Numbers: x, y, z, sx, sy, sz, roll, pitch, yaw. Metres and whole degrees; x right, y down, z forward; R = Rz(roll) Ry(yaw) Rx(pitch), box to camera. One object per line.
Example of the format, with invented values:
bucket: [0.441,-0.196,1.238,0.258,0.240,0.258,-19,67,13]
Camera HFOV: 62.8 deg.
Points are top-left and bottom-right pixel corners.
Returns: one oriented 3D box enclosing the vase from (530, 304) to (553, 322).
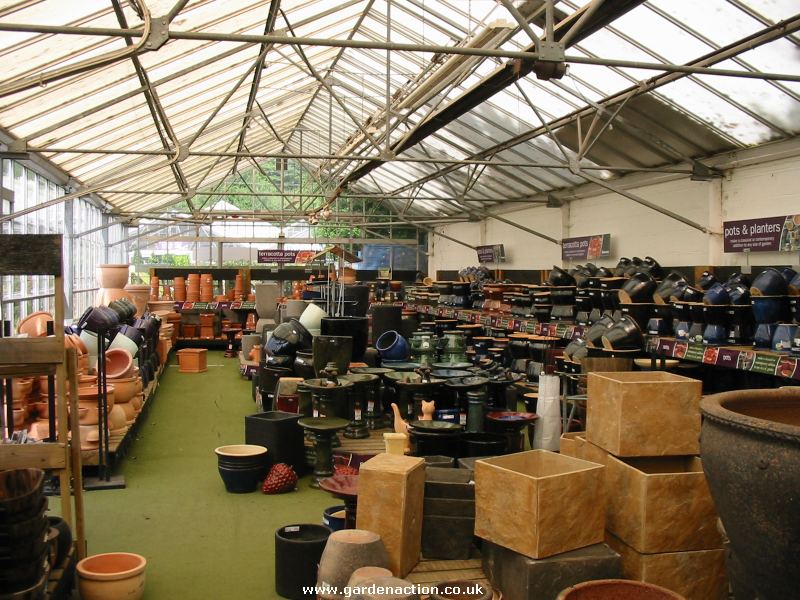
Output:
vase: [1.856,0.176,8.738,0.313,0.213,0.272,1,1,32]

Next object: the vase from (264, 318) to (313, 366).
vase: [-1.173,0.458,7.126,0.681,0.485,0.427,2,1,44]

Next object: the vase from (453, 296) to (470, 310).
vase: [1.142,0.062,12.024,0.310,0.163,0.255,1,-10,-3]

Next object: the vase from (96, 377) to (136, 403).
vase: [-2.618,0.837,6.054,0.300,0.158,0.253,0,-4,5]

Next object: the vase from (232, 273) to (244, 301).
vase: [-3.684,-0.288,14.942,0.205,0.606,0.411,1,1,-15]

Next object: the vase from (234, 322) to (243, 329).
vase: [-3.530,0.558,14.282,0.184,0.127,0.214,1,1,-18]

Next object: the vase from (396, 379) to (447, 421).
vase: [0.214,0.891,5.859,0.453,0.392,0.506,1,1,3]

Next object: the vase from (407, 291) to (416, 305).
vase: [0.263,-0.032,14.677,0.246,0.243,0.300,7,-6,-16]

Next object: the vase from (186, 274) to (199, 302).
vase: [-4.605,-0.257,14.602,0.285,0.609,0.511,1,1,-17]

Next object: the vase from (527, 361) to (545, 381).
vase: [1.616,0.844,7.789,0.162,0.235,0.386,1,1,-15]

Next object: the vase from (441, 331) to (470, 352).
vase: [0.605,0.454,7.172,0.258,0.120,0.259,4,3,43]

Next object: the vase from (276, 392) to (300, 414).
vase: [-1.070,0.991,6.274,0.221,0.113,0.187,2,0,5]

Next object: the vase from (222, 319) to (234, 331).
vase: [-3.754,0.554,14.177,0.332,0.190,0.210,0,-4,-27]

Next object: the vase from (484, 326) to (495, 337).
vase: [1.401,0.500,10.289,0.187,0.148,0.165,-2,-4,-14]

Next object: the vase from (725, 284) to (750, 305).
vase: [2.758,-0.044,5.317,0.175,0.136,0.192,2,-6,-26]

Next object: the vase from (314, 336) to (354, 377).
vase: [-0.541,0.540,6.340,0.479,0.382,0.406,1,-8,-2]

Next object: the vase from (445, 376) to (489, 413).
vase: [0.586,0.815,5.817,0.411,0.210,0.369,-2,1,-2]

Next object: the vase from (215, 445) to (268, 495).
vase: [-1.263,1.322,5.151,0.457,0.228,0.388,0,-5,8]

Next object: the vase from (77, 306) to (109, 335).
vase: [-2.711,0.189,5.795,0.181,0.208,0.200,23,36,-3]

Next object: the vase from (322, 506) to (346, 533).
vase: [-0.395,1.357,4.069,0.185,0.097,0.155,1,-7,3]

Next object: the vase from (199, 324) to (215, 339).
vase: [-4.213,0.695,14.271,0.390,0.264,0.285,1,-4,-18]

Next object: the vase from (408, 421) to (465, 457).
vase: [0.268,0.990,4.663,0.374,0.159,0.314,2,-2,-8]

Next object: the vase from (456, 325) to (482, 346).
vase: [1.120,0.554,10.256,0.447,0.235,0.386,1,-2,-3]

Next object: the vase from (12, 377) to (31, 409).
vase: [-2.950,0.715,5.109,0.103,0.224,0.238,1,1,-7]

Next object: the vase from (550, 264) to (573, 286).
vase: [2.165,-0.304,8.625,0.299,0.166,0.290,30,-11,-32]

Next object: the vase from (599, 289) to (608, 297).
vase: [2.220,-0.066,7.109,0.083,0.075,0.092,-1,-4,9]

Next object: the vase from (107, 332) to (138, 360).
vase: [-2.814,0.464,6.735,0.351,0.245,0.322,10,1,-33]

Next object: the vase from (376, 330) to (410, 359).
vase: [-0.062,0.519,7.417,0.341,0.306,0.411,1,1,-15]

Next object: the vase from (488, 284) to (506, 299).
vase: [1.576,-0.127,10.597,0.157,0.255,0.571,1,1,-11]

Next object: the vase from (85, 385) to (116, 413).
vase: [-2.499,0.820,5.426,0.258,0.137,0.248,3,-5,-41]

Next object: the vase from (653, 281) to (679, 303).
vase: [2.457,-0.060,5.964,0.172,0.211,0.361,1,1,3]

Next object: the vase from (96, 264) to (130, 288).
vase: [-4.282,-0.342,9.735,0.476,0.257,0.422,0,-2,7]

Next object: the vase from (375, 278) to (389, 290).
vase: [-0.451,-0.392,16.925,0.362,0.179,0.303,1,-6,-7]

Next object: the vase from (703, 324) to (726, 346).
vase: [2.616,0.281,5.426,0.172,0.165,0.107,1,1,21]

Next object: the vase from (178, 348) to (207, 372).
vase: [-3.584,1.032,11.271,0.528,0.272,0.429,1,-2,-12]

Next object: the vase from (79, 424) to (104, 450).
vase: [-2.501,1.113,5.273,0.127,0.186,0.254,0,1,-27]
